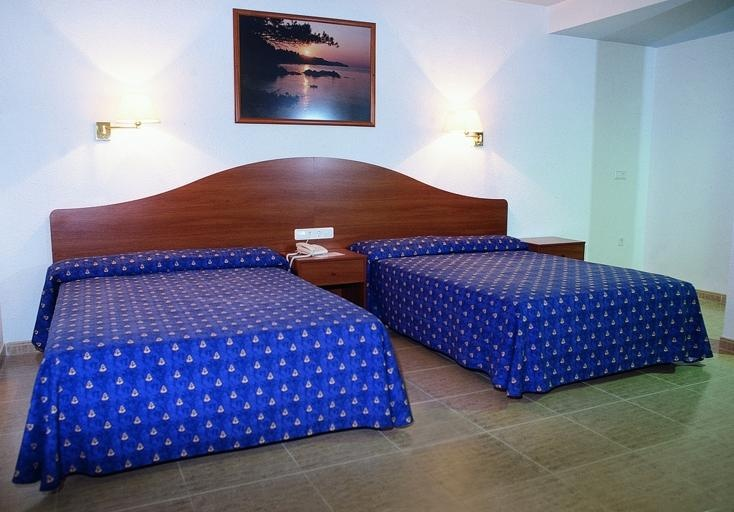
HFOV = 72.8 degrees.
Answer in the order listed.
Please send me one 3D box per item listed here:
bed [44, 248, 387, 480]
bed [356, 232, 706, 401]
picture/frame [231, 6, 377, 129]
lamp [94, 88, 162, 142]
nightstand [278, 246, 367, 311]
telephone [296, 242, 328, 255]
[{"bbox_3d":[-1.055,0.542,3.643,2.155,0.794,2.063,-5,14,-17],"label":"bed"},{"bbox_3d":[1.377,0.364,4.548,2.224,0.785,2.160,-5,15,-19],"label":"bed"},{"bbox_3d":[-0.663,-1.872,4.850,1.331,0.905,0.031,-2,11,-20],"label":"picture/frame"},{"bbox_3d":[-2.094,-1.220,4.356,0.524,0.243,0.442,-6,15,7],"label":"lamp"},{"bbox_3d":[-0.362,0.294,4.839,0.640,0.605,0.478,-3,9,-13],"label":"nightstand"},{"bbox_3d":[-0.514,-0.098,4.765,0.208,0.083,0.153,-4,10,-24],"label":"telephone"}]
